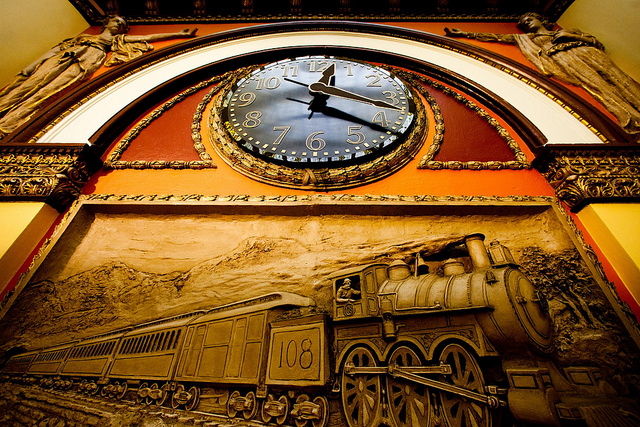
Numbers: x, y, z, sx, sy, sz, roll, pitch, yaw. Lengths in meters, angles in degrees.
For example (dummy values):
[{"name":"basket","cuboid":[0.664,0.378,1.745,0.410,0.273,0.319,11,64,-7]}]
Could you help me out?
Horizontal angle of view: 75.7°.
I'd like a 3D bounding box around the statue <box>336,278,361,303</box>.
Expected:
[{"name":"statue","cuboid":[0.197,0.612,3.238,0.178,0.184,0.145,-19,-28,37]}]
